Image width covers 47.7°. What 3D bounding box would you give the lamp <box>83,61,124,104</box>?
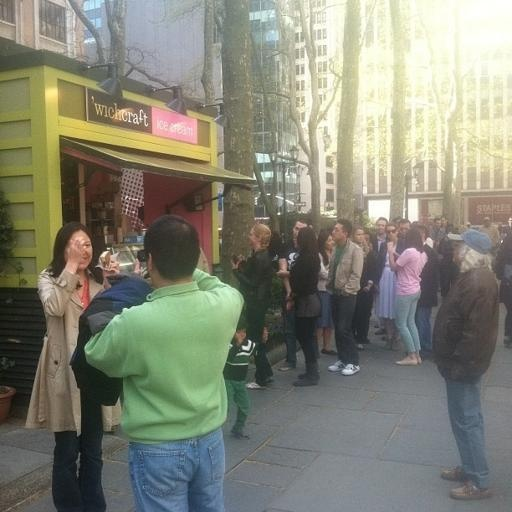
[{"bbox_3d":[-1.806,-2.123,7.020,0.445,0.523,0.427,2,6,16],"label":"lamp"}]

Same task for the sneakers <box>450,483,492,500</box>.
[{"bbox_3d":[1.559,1.733,4.240,0.278,0.144,0.123,4,-2,5],"label":"sneakers"}]

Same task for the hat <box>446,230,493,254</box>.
[{"bbox_3d":[1.651,-0.109,4.504,0.305,0.140,0.208,21,18,23],"label":"hat"}]

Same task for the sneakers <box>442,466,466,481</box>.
[{"bbox_3d":[1.547,1.703,4.529,0.175,0.095,0.076,2,5,25],"label":"sneakers"}]

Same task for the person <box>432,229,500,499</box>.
[{"bbox_3d":[1.574,0.791,4.363,0.468,1.959,0.448,0,3,18],"label":"person"}]

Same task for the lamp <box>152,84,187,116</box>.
[{"bbox_3d":[-1.277,-2.386,8.674,0.417,0.499,0.909,-1,3,-3],"label":"lamp"}]
